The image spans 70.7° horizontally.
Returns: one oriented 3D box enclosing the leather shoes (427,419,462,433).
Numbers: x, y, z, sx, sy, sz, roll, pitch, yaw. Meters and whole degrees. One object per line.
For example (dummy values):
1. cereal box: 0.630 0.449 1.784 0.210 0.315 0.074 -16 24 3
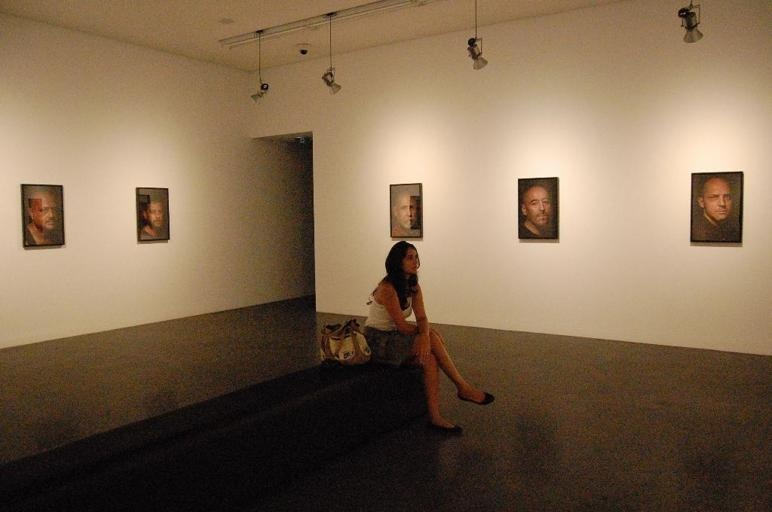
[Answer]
1. leather shoes: 0.671 1.941 6.220 0.376 0.154 0.130 -3 1 15
